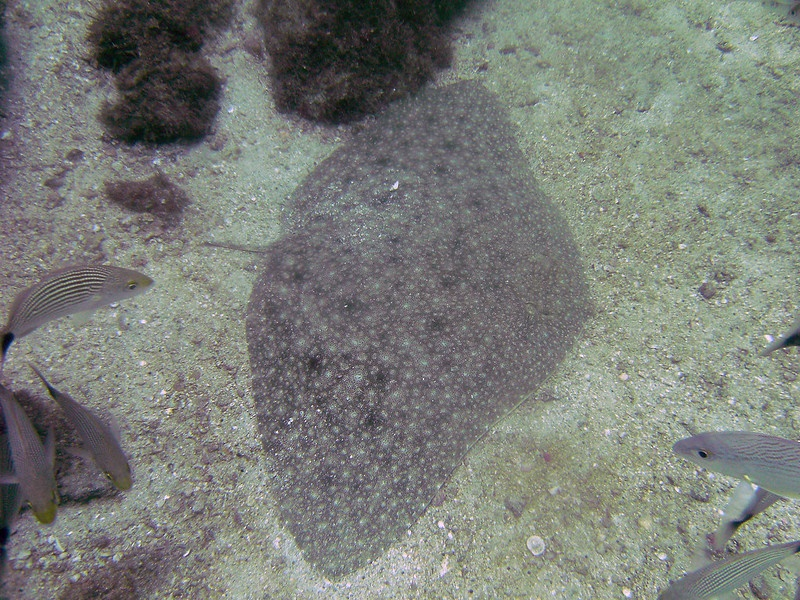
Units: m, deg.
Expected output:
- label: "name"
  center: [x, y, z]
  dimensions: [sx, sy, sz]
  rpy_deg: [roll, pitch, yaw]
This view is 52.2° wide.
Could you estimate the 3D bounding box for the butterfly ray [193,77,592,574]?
- label: "butterfly ray"
  center: [-0.011, 0.458, 9.204]
  dimensions: [4.203, 0.976, 7.097]
  rpy_deg: [16, 81, -1]
